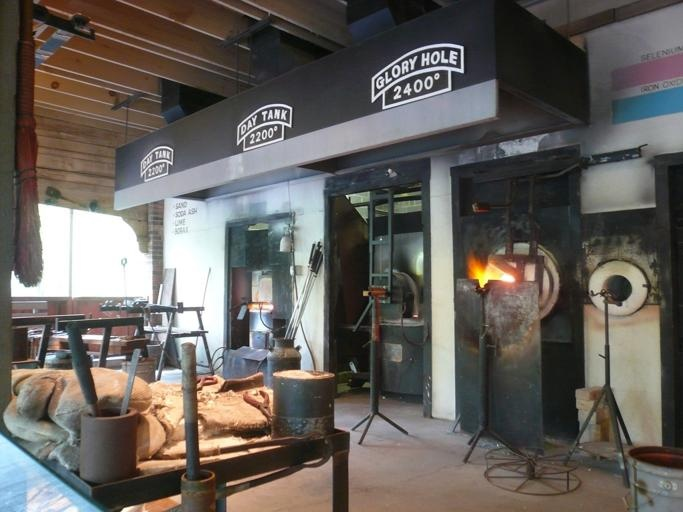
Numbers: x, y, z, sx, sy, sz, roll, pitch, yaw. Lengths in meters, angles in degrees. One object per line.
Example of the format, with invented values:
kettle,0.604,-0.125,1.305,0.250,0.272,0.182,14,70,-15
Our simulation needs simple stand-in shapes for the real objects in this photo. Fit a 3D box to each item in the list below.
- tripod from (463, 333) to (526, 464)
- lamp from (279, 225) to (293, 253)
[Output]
tripod,1.341,1.253,5.459,0.509,1.136,0.559,-1,1,6
lamp,-0.791,-0.227,8.200,0.234,0.381,0.207,-1,1,25
